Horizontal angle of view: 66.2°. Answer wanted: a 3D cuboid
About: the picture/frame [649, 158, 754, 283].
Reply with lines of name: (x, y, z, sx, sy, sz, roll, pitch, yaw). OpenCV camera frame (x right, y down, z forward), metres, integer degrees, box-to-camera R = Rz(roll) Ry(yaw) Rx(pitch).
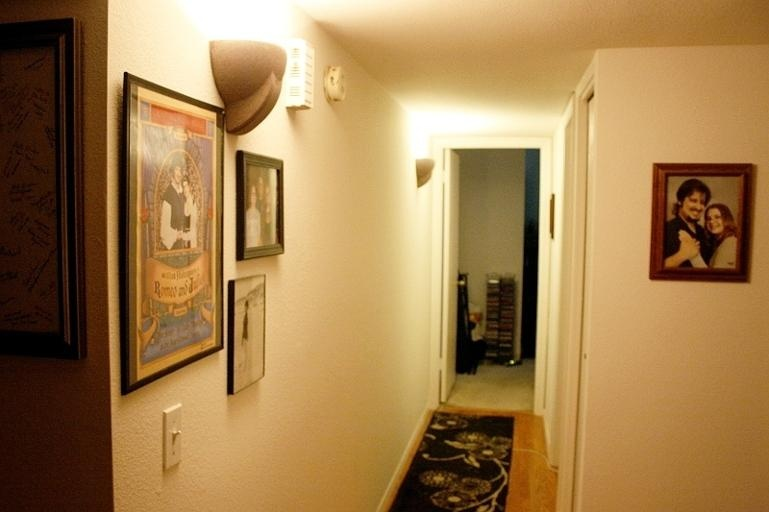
picture/frame: (1.524, -0.178, 2.793, 0.583, 0.748, 0.060, 1, 3, 4)

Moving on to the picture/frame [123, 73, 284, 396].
picture/frame: (-0.620, -0.055, 1.751, 0.059, 0.862, 0.395, 4, 1, 24)
